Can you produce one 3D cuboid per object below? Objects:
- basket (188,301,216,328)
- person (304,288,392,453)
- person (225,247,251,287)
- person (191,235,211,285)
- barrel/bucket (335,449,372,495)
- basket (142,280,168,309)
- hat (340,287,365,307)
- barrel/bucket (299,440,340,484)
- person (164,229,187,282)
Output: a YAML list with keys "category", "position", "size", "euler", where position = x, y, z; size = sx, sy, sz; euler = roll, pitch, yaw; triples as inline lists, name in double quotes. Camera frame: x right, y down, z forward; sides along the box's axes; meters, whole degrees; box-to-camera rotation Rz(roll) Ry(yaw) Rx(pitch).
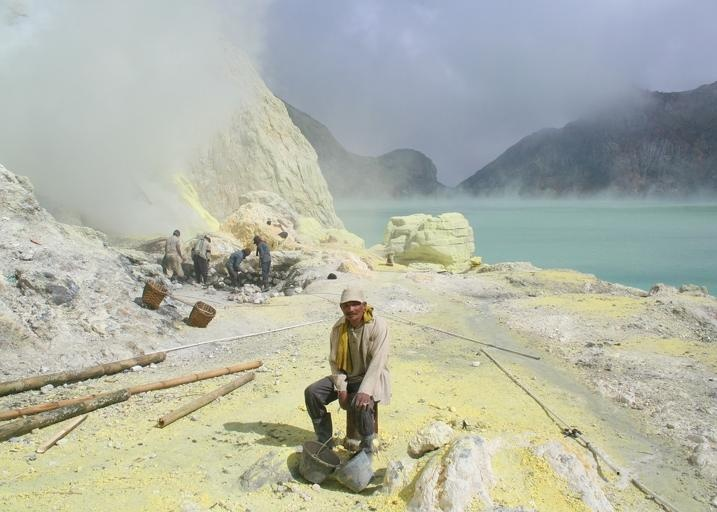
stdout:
- category: "basket"
  position: [-3.483, 1.304, 7.746]
  size: [0.503, 0.518, 0.501]
  euler: [4, 0, 39]
- category: "person"
  position: [-0.063, 1.093, 3.375]
  size: [0.726, 1.527, 0.457]
  euler: [5, 1, 16]
- category: "person"
  position: [-4.857, 0.474, 14.067]
  size: [0.975, 1.760, 0.710]
  euler: [-9, 50, -28]
- category: "person"
  position: [-6.060, 0.122, 13.283]
  size: [0.672, 1.630, 1.134]
  euler: [5, 0, -23]
- category: "barrel/bucket"
  position: [0.010, 1.836, 3.052]
  size: [0.283, 0.291, 0.346]
  euler: [29, 23, -3]
- category: "basket"
  position: [-4.454, 0.836, 7.562]
  size: [0.435, 0.555, 0.392]
  euler: [4, 0, -28]
- category: "hat"
  position: [-0.054, 0.380, 3.316]
  size: [0.216, 0.165, 0.265]
  euler: [4, 0, -2]
- category: "barrel/bucket"
  position: [-0.378, 1.838, 3.077]
  size: [0.411, 0.360, 0.164]
  euler: [4, 0, 17]
- category: "person"
  position: [-6.788, -0.037, 12.815]
  size: [0.716, 1.674, 0.916]
  euler: [5, 0, -27]
